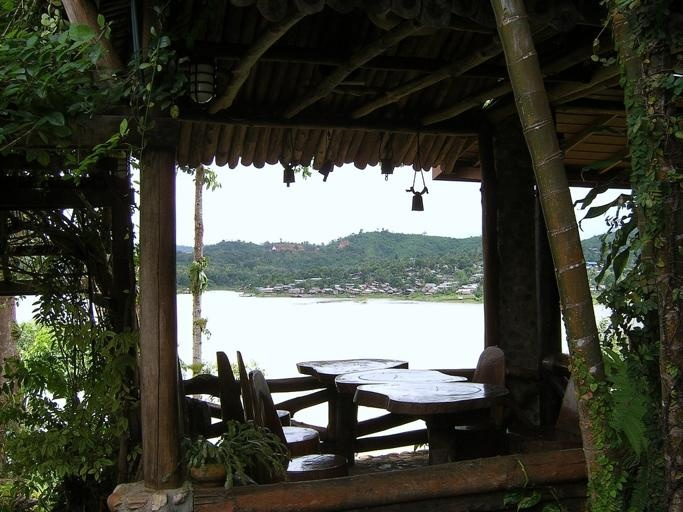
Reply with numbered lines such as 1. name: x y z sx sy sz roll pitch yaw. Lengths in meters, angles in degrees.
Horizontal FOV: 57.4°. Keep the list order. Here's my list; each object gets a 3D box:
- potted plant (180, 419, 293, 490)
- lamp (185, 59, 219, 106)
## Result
1. potted plant: -0.561 1.242 3.931 0.435 0.322 0.685 -18 -30 3
2. lamp: -1.040 -1.287 4.611 0.173 0.193 0.284 4 -48 -9
